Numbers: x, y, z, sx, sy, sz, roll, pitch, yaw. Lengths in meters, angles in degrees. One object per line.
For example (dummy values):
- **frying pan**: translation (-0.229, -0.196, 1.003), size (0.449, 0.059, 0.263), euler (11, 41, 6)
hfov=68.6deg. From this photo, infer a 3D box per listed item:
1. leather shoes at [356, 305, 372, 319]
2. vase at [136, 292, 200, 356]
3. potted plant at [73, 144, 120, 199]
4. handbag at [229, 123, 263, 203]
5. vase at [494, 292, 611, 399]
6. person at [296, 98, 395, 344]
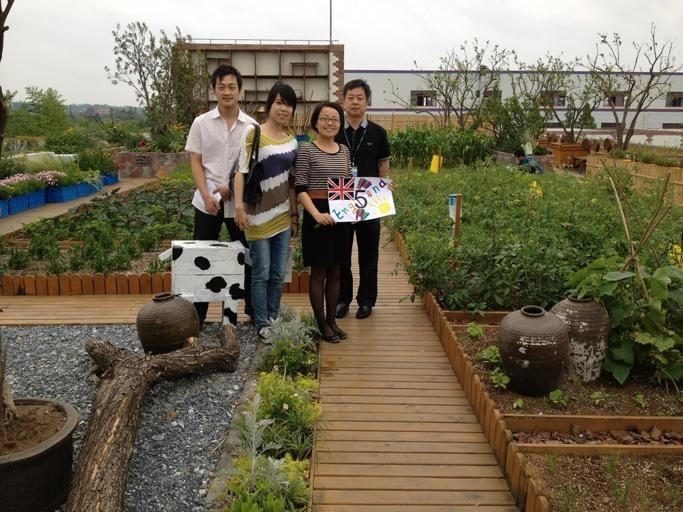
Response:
- **leather shoes**: translation (0.222, 0.584, 5.152), size (0.072, 0.085, 0.213), euler (0, 2, 20)
- **vase**: translation (-1.382, 0.536, 4.245), size (0.423, 0.591, 0.466), euler (0, 6, 2)
- **potted plant**: translation (-6.931, -2.488, 14.189), size (0.580, 0.979, 1.918), euler (-3, 15, -6)
- **handbag**: translation (-0.824, -0.798, 4.324), size (0.203, 0.762, 0.438), euler (-1, 25, -33)
- **vase**: translation (1.591, 0.671, 3.783), size (0.853, 0.644, 0.380), euler (-9, 16, -27)
- **person**: translation (-0.139, -0.265, 4.455), size (0.510, 2.137, 0.408), euler (-5, 15, -14)
